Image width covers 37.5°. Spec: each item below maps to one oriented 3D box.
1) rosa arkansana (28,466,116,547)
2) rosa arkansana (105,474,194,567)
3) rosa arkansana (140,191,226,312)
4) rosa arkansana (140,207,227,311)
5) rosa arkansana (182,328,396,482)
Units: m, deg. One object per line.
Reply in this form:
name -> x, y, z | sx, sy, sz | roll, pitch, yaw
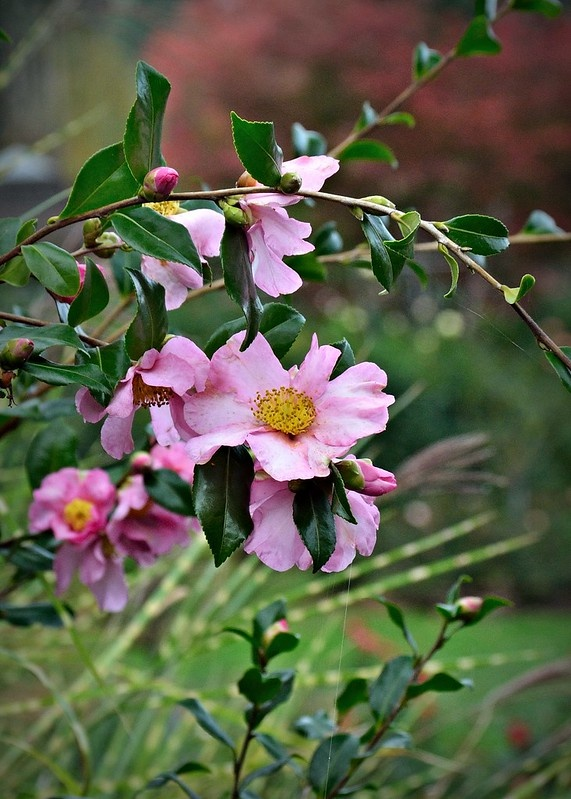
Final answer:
rosa arkansana -> -0.163, 0.082, 0.669 | 0.070, 0.030, 0.059 | 16, 67, 6
rosa arkansana -> -0.102, 0.099, 0.644 | 0.068, 0.030, 0.055 | 5, 79, -13
rosa arkansana -> -0.072, -0.102, 0.593 | 0.082, 0.073, 0.029 | -29, 44, -26
rosa arkansana -> -0.077, -0.102, 0.601 | 0.077, 0.065, 0.021 | -22, 28, -12
rosa arkansana -> -0.001, 0.007, 0.514 | 0.118, 0.034, 0.095 | 17, 65, 10
